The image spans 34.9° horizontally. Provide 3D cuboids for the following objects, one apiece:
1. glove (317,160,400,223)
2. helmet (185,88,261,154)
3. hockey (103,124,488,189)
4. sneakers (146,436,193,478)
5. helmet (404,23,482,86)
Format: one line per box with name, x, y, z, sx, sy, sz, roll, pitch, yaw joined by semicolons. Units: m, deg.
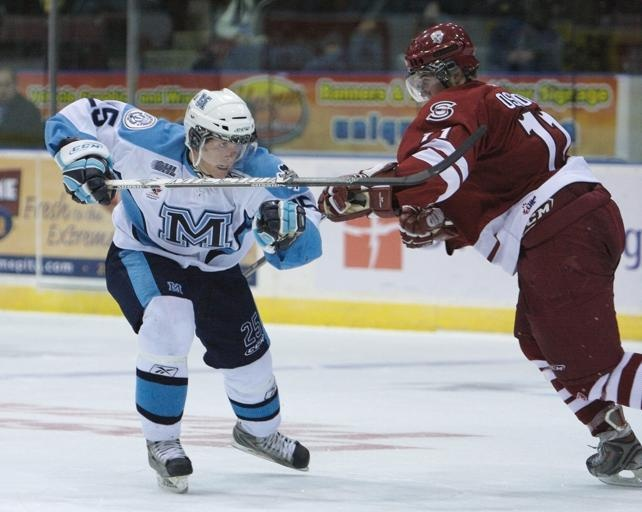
glove;0.127;-0.235;4.115;0.350;0.157;0.145;-7;-5;37
helmet;-0.477;-0.521;4.000;0.251;0.238;0.303;-2;15;-40
hockey;-0.115;-0.368;3.895;1.464;0.260;0.280;1;9;6
sneakers;-0.595;0.800;4.028;0.139;0.118;0.199;-2;9;-18
helmet;0.488;-0.822;4.155;0.341;0.207;0.231;-4;8;1
